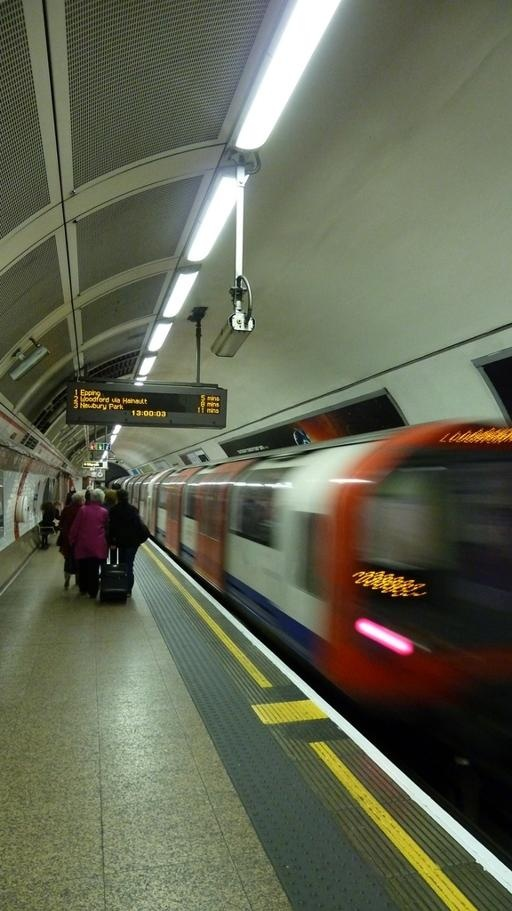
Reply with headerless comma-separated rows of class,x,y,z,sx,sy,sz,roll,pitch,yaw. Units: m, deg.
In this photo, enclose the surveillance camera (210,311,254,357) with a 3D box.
surveillance camera,-0.218,-1.223,5.949,0.239,0.164,0.815,7,-13,-12
